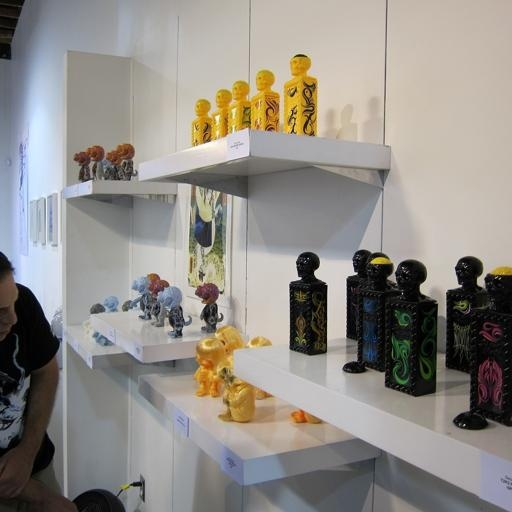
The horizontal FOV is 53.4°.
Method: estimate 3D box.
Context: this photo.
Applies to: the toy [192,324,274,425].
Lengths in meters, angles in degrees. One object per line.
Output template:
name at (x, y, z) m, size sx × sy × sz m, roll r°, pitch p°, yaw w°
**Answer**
toy at (-0.052, 0.277, 1.219) m, size 0.151 × 0.158 × 0.211 m, roll -1°, pitch 3°, yaw -26°
